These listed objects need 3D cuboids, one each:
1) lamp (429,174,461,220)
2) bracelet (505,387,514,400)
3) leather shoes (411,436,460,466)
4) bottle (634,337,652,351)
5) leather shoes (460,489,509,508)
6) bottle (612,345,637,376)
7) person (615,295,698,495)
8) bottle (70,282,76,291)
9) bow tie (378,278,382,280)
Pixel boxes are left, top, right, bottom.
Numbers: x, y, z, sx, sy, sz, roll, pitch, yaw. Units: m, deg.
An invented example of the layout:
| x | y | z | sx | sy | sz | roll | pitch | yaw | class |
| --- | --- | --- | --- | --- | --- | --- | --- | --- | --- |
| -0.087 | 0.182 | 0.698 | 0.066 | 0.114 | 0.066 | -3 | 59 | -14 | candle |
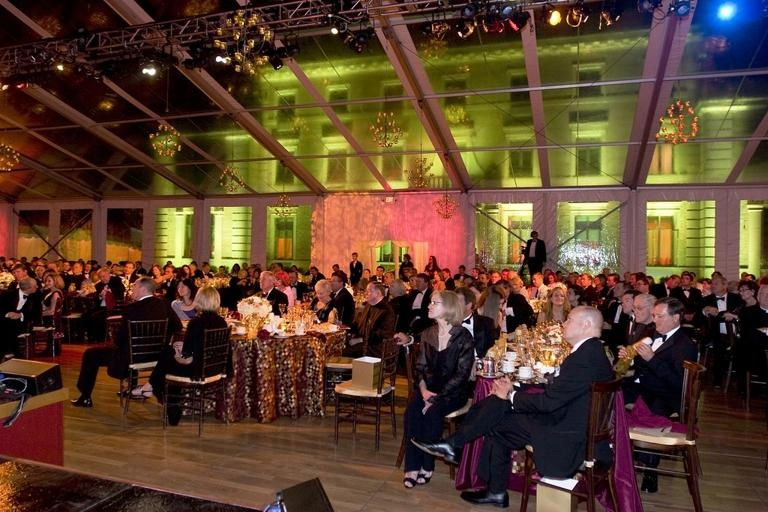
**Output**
| x | y | z | sx | sy | sz | roll | pitch | yaw | class |
| --- | --- | --- | --- | --- | --- | --- | --- | --- | --- |
| 1.714 | -1.630 | 17.529 | 0.746 | 1.203 | 1.234 | 1 | -8 | 5 | lamp |
| 1.416 | 1.571 | 6.908 | 0.052 | 0.130 | 0.125 | 15 | -3 | -27 | bracelet |
| 0.637 | 2.293 | 7.292 | 0.586 | 0.221 | 0.216 | 18 | -18 | 17 | leather shoes |
| 3.281 | 1.099 | 7.684 | 0.148 | 0.167 | 0.609 | 5 | -1 | 32 | bottle |
| 1.165 | 2.760 | 7.099 | 0.568 | 0.231 | 0.205 | 5 | -9 | 15 | leather shoes |
| 2.858 | 1.250 | 7.305 | 0.392 | 0.321 | 0.188 | 9 | -10 | -44 | bottle |
| 3.423 | 1.701 | 7.646 | 0.877 | 2.345 | 0.967 | -3 | -8 | 30 | person |
| -8.155 | 0.820 | 15.969 | 0.156 | 0.160 | 0.079 | 2 | 6 | 4 | bottle |
| -0.118 | 0.603 | 16.004 | 0.081 | 0.075 | 0.058 | 9 | 16 | 23 | bow tie |
